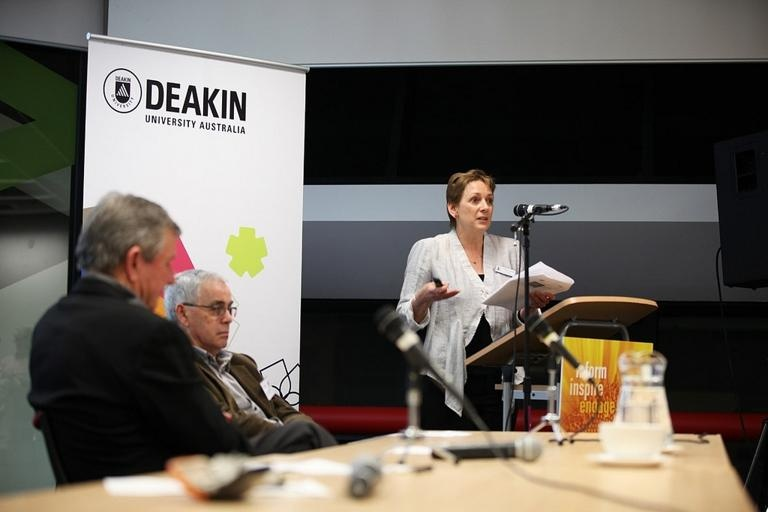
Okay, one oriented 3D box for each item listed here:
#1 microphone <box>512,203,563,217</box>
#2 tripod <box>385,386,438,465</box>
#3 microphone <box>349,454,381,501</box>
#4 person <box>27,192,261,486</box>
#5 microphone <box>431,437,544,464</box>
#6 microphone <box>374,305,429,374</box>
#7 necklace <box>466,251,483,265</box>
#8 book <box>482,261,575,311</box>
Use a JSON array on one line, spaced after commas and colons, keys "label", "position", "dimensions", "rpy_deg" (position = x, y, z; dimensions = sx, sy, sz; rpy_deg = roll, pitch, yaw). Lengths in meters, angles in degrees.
[{"label": "microphone", "position": [0.933, -0.282, 3.518], "dimensions": [0.202, 0.079, 0.280], "rpy_deg": [-2, 0, -26]}, {"label": "tripod", "position": [0.100, 0.602, 2.131], "dimensions": [0.208, 0.272, 0.233], "rpy_deg": [0, -9, -1]}, {"label": "microphone", "position": [-0.049, 0.599, 1.624], "dimensions": [0.065, 0.083, 0.119], "rpy_deg": [10, 12, 9]}, {"label": "person", "position": [-0.874, 0.272, 2.120], "dimensions": [0.800, 1.062, 0.378], "rpy_deg": [-1, 0, 22]}, {"label": "microphone", "position": [0.340, 0.632, 1.981], "dimensions": [0.357, 0.084, 0.176], "rpy_deg": [-2, 0, 2]}, {"label": "microphone", "position": [0.050, 0.267, 1.987], "dimensions": [0.146, 0.207, 0.223], "rpy_deg": [-1, 0, -13]}, {"label": "necklace", "position": [0.632, -0.006, 4.057], "dimensions": [0.075, 0.125, 0.033], "rpy_deg": [6, -18, -7]}, {"label": "book", "position": [0.816, 0.185, 3.417], "dimensions": [0.329, 0.128, 0.356], "rpy_deg": [3, -29, -40]}]
